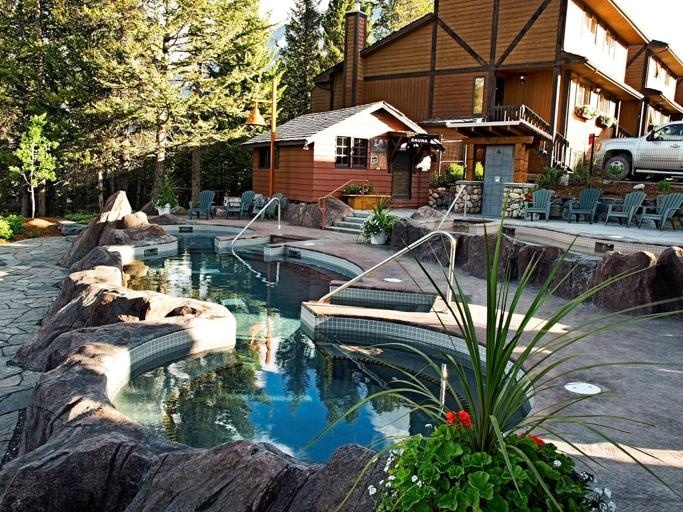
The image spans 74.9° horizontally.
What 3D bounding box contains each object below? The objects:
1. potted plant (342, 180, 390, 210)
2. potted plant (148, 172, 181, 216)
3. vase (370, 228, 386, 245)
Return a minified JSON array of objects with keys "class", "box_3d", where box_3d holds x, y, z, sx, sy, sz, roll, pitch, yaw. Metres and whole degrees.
[{"class":"potted plant","box_3d":[1.188,-2.728,21.172,2.845,1.137,1.904,-2,7,-31]},{"class":"potted plant","box_3d":[-8.913,-2.973,22.563,1.340,1.629,1.630,-2,14,-20]},{"class":"vase","box_3d":[1.340,-0.631,15.260,0.579,0.368,0.496,-3,5,-31]}]
